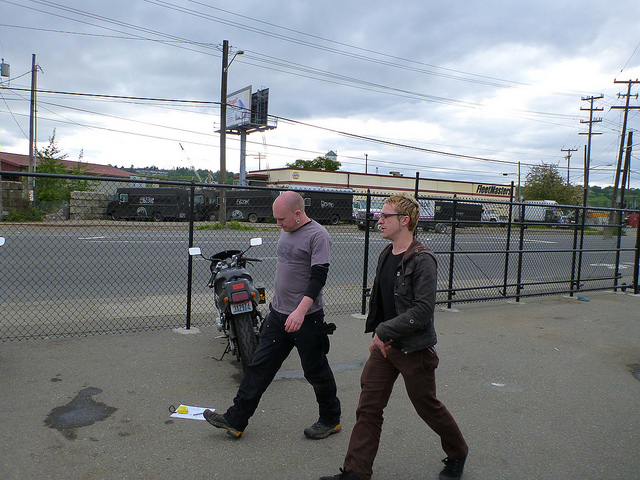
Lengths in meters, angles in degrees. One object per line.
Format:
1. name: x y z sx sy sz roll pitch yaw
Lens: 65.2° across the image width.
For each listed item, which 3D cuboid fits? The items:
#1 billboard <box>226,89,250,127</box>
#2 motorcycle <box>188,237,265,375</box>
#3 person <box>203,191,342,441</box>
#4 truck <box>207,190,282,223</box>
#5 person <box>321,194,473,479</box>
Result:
1. billboard: -6.970 -11.032 42.184 0.283 2.922 4.034 -1 3 -42
2. motorcycle: -1.047 0.756 6.513 0.960 1.399 2.204 -10 7 -14
3. person: -0.306 0.732 4.865 1.087 2.308 0.625 1 11 -6
4. truck: -4.158 -1.776 27.261 4.495 1.655 1.554 1 10 24
5. person: 0.650 0.876 4.240 1.096 2.430 0.738 1 11 -9
